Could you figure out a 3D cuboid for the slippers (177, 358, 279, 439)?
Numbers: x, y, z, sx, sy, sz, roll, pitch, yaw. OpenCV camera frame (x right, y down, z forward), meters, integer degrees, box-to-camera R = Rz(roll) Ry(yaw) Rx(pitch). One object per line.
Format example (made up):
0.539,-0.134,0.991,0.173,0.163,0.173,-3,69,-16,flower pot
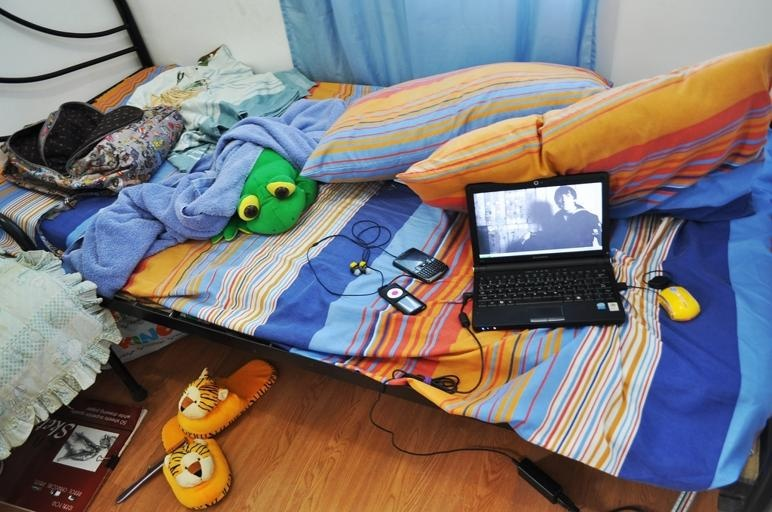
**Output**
-0.641,0.535,2.334,0.430,0.249,0.435,-11,36,-18,slippers

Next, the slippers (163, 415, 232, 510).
-0.725,0.783,2.109,0.183,0.111,0.321,-27,42,-21,slippers

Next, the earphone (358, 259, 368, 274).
-0.082,0.040,1.987,0.032,0.040,0.017,0,-8,-3,earphone

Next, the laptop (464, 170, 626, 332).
0.502,-0.014,1.792,0.457,0.367,0.392,-5,36,14,laptop

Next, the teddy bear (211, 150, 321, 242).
-0.489,-0.273,2.246,0.373,0.145,0.357,-37,38,-1,teddy bear

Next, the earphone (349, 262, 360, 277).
-0.108,0.046,1.988,0.046,0.019,0.042,-1,80,25,earphone

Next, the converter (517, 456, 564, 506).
0.529,0.772,1.936,0.078,0.098,0.200,-30,37,-20,converter
